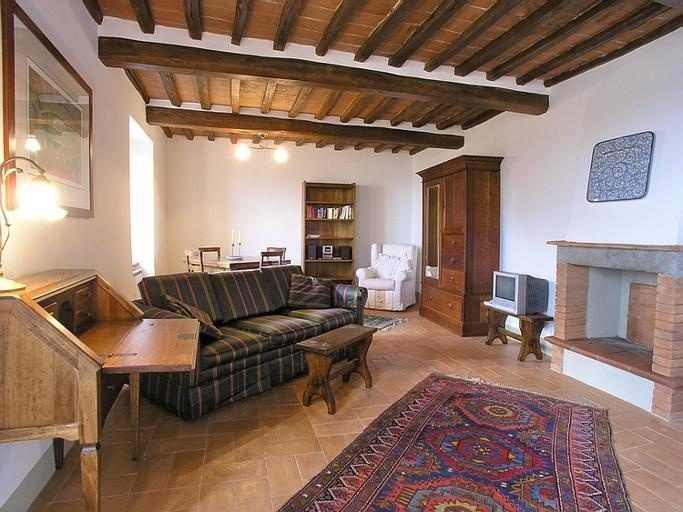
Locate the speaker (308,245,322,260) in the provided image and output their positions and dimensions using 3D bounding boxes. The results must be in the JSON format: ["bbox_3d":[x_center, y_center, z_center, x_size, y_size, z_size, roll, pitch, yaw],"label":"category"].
[{"bbox_3d":[-0.484,-0.053,7.900,0.148,0.238,0.274,-1,-1,42],"label":"speaker"}]

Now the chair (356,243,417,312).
[{"bbox_3d":[0.802,0.319,7.662,0.952,0.990,1.018,-6,8,-29],"label":"chair"}]

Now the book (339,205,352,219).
[{"bbox_3d":[0.068,-0.773,8.097,0.214,0.234,0.108,0,15,0],"label":"book"}]

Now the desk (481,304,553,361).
[{"bbox_3d":[1.992,0.860,5.309,0.348,0.451,0.982,1,3,-12],"label":"desk"}]

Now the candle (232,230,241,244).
[{"bbox_3d":[-1.801,-0.305,7.763,0.170,0.265,0.190,-3,15,-13],"label":"candle"}]

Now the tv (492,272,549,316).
[{"bbox_3d":[2.076,0.430,5.321,0.411,0.446,0.558,0,1,-11],"label":"tv"}]

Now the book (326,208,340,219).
[{"bbox_3d":[-0.155,-0.736,8.097,0.251,0.223,0.177,2,4,1],"label":"book"}]

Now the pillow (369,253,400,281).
[{"bbox_3d":[0.762,0.183,7.737,0.428,0.402,0.140,11,-4,26],"label":"pillow"}]

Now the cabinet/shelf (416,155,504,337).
[{"bbox_3d":[1.681,-0.165,6.214,0.841,2.339,1.332,-1,15,-5],"label":"cabinet/shelf"}]

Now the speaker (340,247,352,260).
[{"bbox_3d":[0.062,-0.049,8.096,0.247,0.218,0.129,1,-4,-29],"label":"speaker"}]

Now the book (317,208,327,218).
[{"bbox_3d":[-0.352,-0.747,8.023,0.163,0.193,0.110,7,7,29],"label":"book"}]
